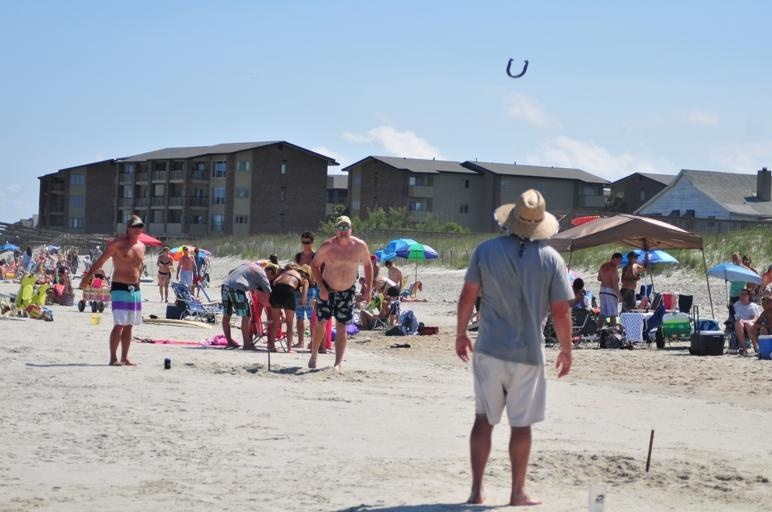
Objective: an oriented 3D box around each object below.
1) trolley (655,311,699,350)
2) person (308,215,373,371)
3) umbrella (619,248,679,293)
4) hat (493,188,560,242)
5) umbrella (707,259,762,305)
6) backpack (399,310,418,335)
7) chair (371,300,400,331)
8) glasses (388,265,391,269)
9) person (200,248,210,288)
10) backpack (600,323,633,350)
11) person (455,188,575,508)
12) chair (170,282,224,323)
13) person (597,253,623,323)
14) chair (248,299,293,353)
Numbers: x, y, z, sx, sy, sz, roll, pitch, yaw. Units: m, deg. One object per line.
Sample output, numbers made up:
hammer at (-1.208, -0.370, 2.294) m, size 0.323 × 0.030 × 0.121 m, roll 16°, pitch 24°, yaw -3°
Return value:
trolley at (6.275, 1.433, 28.570) m, size 0.681 × 0.750 × 1.254 m, roll -2°, pitch 8°, yaw 14°
person at (-0.759, 0.590, 22.852) m, size 1.075 × 2.613 × 0.781 m, roll 1°, pitch 8°, yaw -5°
umbrella at (7.155, 0.129, 36.341) m, size 1.665 × 1.184 × 1.819 m, roll 2°, pitch 3°, yaw 17°
hat at (1.968, -0.707, 18.091) m, size 0.867 × 0.441 × 0.874 m, roll 5°, pitch 35°, yaw -9°
umbrella at (7.472, 0.426, 28.968) m, size 0.977 × 0.643 × 0.925 m, roll 11°, pitch -1°, yaw -38°
backpack at (0.512, 1.413, 29.115) m, size 0.169 × 0.501 × 0.405 m, roll -3°, pitch -1°, yaw 39°
chair at (0.060, 1.253, 29.662) m, size 0.492 × 0.564 × 0.675 m, roll 6°, pitch 12°, yaw 15°
glasses at (0.115, 0.232, 35.864) m, size 0.083 × 0.099 × 0.098 m, roll 1°, pitch 4°, yaw 37°
person at (-6.111, 0.357, 44.880) m, size 0.392 × 0.497 × 1.265 m, roll -2°, pitch 25°, yaw -2°
backpack at (4.717, 1.597, 27.456) m, size 0.496 × 0.493 × 0.468 m, roll 7°, pitch -2°, yaw -20°
person at (1.727, 1.201, 17.908) m, size 1.533 × 4.054 × 1.163 m, roll 3°, pitch 12°, yaw 2°
chair at (-4.198, 0.995, 29.506) m, size 1.059 × 0.863 × 1.163 m, roll 0°, pitch 12°, yaw -9°
person at (4.798, 0.699, 28.052) m, size 0.525 × 1.677 × 0.607 m, roll -6°, pitch 12°, yaw -16°
chair at (-2.301, 1.202, 25.693) m, size 0.636 × 0.904 × 0.671 m, roll 0°, pitch -1°, yaw -7°
